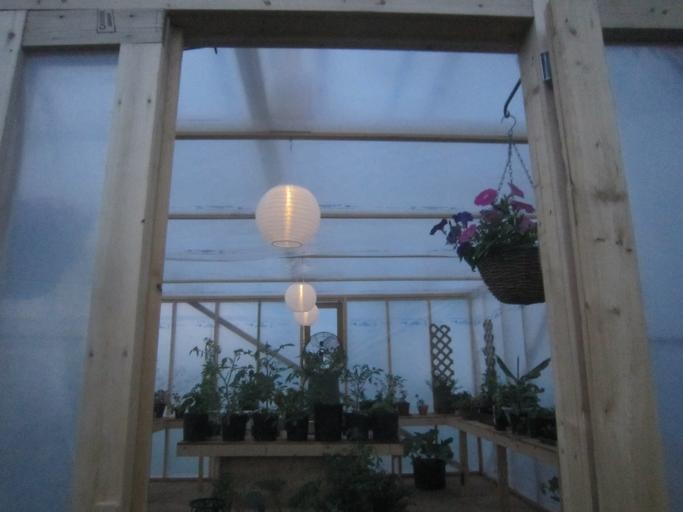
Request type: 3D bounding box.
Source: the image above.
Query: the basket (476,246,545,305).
[{"bbox_3d":[0.718,0.082,2.598,0.243,0.155,0.250,-2,-12,9],"label":"basket"}]

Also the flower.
[{"bbox_3d":[0.697,-0.154,2.952,0.502,0.329,0.515,-3,-30,11],"label":"flower"}]

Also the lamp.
[{"bbox_3d":[-0.296,-0.140,3.978,0.441,1.124,0.449,-4,-4,-10],"label":"lamp"}]
